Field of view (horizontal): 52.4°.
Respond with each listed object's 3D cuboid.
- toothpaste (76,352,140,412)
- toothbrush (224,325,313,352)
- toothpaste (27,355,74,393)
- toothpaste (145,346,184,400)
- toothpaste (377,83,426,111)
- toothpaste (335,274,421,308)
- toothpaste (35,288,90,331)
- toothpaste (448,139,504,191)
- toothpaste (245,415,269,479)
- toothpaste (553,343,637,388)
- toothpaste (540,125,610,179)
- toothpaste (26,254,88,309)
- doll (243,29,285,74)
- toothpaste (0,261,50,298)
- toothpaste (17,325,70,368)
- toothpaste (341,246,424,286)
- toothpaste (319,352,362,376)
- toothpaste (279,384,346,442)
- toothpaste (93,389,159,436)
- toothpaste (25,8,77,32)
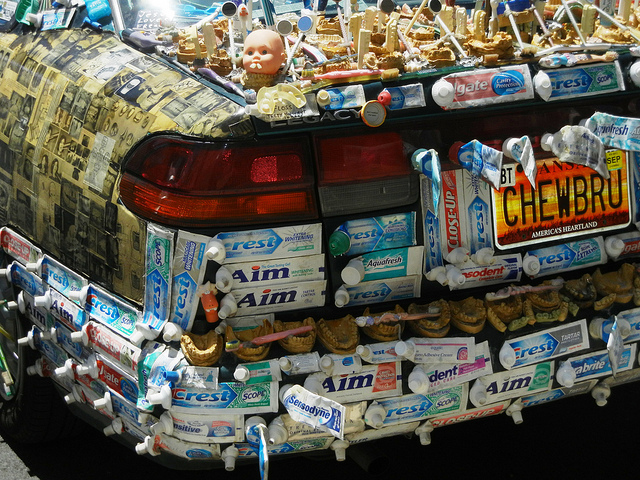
[{"bbox_3d":[-1.034,0.671,3.199,0.321,0.127,0.203,25,14,0],"label":"toothpaste"},{"bbox_3d":[-0.234,0.461,3.014,0.421,0.061,0.053,-9,18,-10],"label":"toothbrush"},{"bbox_3d":[-1.502,0.738,3.729,0.271,0.187,0.099,35,56,-11],"label":"toothpaste"},{"bbox_3d":[-0.680,0.614,3.041,0.075,0.221,0.165,34,3,-38],"label":"toothpaste"},{"bbox_3d":[0.369,-0.649,2.904,0.202,0.107,0.066,-5,8,-18],"label":"toothpaste"},{"bbox_3d":[0.267,0.243,3.190,0.377,0.136,0.078,-8,28,-10],"label":"toothpaste"},{"bbox_3d":[-1.365,0.366,3.400,0.377,0.146,0.090,26,31,28],"label":"toothpaste"},{"bbox_3d":[0.728,-0.370,3.019,0.093,0.179,0.323,-20,32,-24],"label":"toothpaste"},{"bbox_3d":[-0.271,0.939,2.974,0.104,0.259,0.138,-13,19,-20],"label":"toothpaste"},{"bbox_3d":[1.383,0.625,3.307,0.333,0.227,0.017,-16,48,-1],"label":"toothpaste"},{"bbox_3d":[1.218,-0.422,3.058,0.241,0.237,0.062,0,19,18],"label":"toothpaste"},{"bbox_3d":[-1.421,0.200,3.466,0.080,0.417,0.174,-20,55,18],"label":"toothpaste"},{"bbox_3d":[-0.255,-0.846,2.925,0.198,0.235,0.188,1,0,11],"label":"doll"},{"bbox_3d":[-1.668,0.218,3.691,0.342,0.133,0.066,28,29,18],"label":"toothpaste"},{"bbox_3d":[-1.544,0.566,3.682,0.414,0.113,0.158,-4,8,37],"label":"toothpaste"},{"bbox_3d":[0.288,0.104,3.115,0.369,0.112,0.186,-9,51,-15],"label":"toothpaste"},{"bbox_3d":[0.094,0.577,2.972,0.174,0.092,0.072,0,-8,-8],"label":"toothpaste"},{"bbox_3d":[-0.018,0.770,2.926,0.315,0.169,0.084,22,12,-2],"label":"toothpaste"},{"bbox_3d":[-0.902,0.795,3.211,0.417,0.107,0.202,5,26,37],"label":"toothpaste"},{"bbox_3d":[-1.530,-1.260,3.711,0.196,0.107,0.026,8,-20,33],"label":"toothpaste"}]
